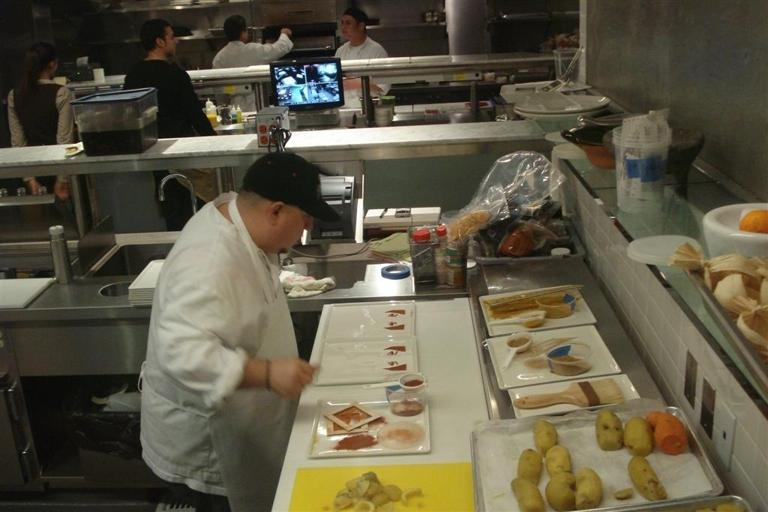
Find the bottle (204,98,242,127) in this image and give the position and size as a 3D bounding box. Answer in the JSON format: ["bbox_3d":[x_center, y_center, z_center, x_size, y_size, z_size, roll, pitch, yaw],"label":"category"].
[{"bbox_3d":[-1.678,-1.475,6.130,0.485,0.311,0.267,-6,29,-15],"label":"bottle"}]

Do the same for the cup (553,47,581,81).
[{"bbox_3d":[1.114,-1.156,3.586,0.148,0.189,0.203,0,24,16],"label":"cup"}]

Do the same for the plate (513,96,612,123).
[{"bbox_3d":[0.921,-0.773,3.049,0.451,0.077,0.456,2,24,19],"label":"plate"}]

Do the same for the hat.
[{"bbox_3d":[-0.347,-0.248,2.233,0.328,0.152,0.226,12,13,-18],"label":"hat"}]

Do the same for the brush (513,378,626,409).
[{"bbox_3d":[0.618,0.464,1.958,0.282,0.037,0.129,-7,20,5],"label":"brush"}]

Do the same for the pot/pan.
[{"bbox_3d":[0.890,-0.394,2.076,0.276,0.087,0.305,-24,26,-38],"label":"pot/pan"}]

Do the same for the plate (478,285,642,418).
[{"bbox_3d":[0.617,0.373,2.179,0.358,0.029,0.586,-7,29,2],"label":"plate"}]

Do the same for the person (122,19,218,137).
[{"bbox_3d":[-1.890,-1.533,5.196,0.752,1.031,0.600,15,32,41],"label":"person"}]

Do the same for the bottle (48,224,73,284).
[{"bbox_3d":[-1.724,-0.002,3.126,0.115,0.307,0.079,-20,27,-25],"label":"bottle"}]

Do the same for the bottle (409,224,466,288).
[{"bbox_3d":[0.289,-0.015,2.877,0.304,0.267,0.289,2,18,11],"label":"bottle"}]

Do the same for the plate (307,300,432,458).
[{"bbox_3d":[-0.054,0.502,2.248,0.351,0.014,0.835,-2,30,1],"label":"plate"}]

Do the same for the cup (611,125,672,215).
[{"bbox_3d":[0.834,-0.288,1.948,0.201,0.284,0.142,13,31,39],"label":"cup"}]
